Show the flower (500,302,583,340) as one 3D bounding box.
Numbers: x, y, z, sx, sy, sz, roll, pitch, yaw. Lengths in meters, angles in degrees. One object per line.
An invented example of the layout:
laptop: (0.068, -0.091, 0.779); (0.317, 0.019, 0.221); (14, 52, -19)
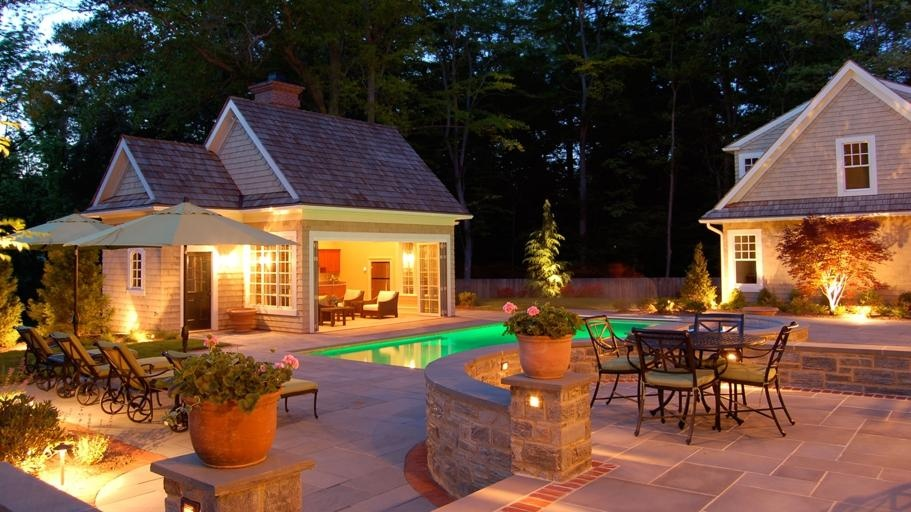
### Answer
flower: (1.500, 1.136, 10.528); (0.885, 0.325, 0.816); (-2, 5, -6)

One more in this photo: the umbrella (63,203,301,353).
umbrella: (-8.906, 0.873, 20.555); (5.557, 3.250, 5.271); (-1, -3, 12)

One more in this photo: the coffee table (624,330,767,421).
coffee table: (5.025, 2.332, 12.088); (2.397, 1.506, 2.259); (-2, 2, 37)

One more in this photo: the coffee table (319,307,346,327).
coffee table: (-4.881, 2.425, 24.431); (0.736, 0.766, 1.293); (-2, 1, -34)

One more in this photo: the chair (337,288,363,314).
chair: (-4.316, 1.956, 25.808); (0.926, 1.183, 1.094); (-4, -6, 36)

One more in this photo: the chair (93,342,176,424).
chair: (-7.097, 2.799, 14.285); (1.443, 1.441, 2.170); (1, 3, 35)

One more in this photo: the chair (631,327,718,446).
chair: (4.239, 2.388, 12.000); (1.543, 1.968, 1.932); (-1, 1, 16)

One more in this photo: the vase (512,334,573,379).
vase: (1.535, 1.746, 10.704); (1.116, 0.664, 0.999); (0, -6, 7)

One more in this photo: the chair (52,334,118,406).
chair: (-8.611, 2.676, 14.790); (1.063, 1.459, 1.720); (2, -5, 34)

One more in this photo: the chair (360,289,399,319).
chair: (-3.100, 2.116, 26.525); (1.300, 1.039, 1.307); (-3, -4, 42)
